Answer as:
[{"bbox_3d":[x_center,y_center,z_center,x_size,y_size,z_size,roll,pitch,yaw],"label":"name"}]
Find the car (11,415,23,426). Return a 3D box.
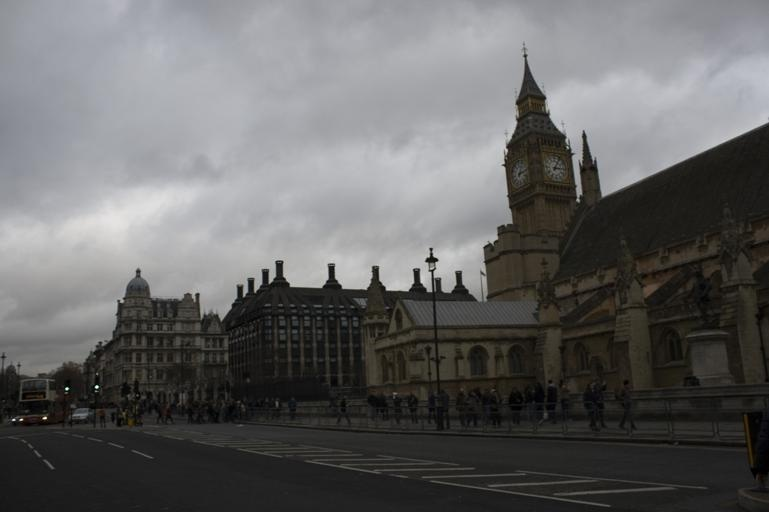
[{"bbox_3d":[-34.156,15.432,75.994,1.288,0.973,2.146,3,-7,-28],"label":"car"}]
